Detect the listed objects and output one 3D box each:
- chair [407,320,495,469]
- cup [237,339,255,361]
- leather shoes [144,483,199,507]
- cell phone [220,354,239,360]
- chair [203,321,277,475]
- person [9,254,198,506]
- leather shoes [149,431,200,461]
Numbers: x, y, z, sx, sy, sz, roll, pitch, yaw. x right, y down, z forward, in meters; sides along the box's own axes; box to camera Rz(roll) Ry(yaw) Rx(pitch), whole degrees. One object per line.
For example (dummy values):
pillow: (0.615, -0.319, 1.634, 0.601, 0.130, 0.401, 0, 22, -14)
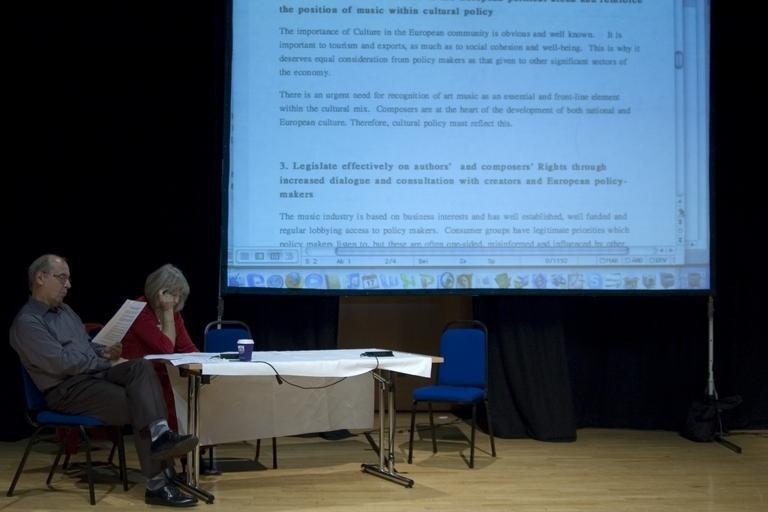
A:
chair: (0.590, 1.149, 7.003, 0.709, 1.206, 0.763, 1, -5, 3)
cup: (-1.044, 0.705, 6.176, 0.134, 0.137, 0.137, -1, -10, 0)
leather shoes: (-1.580, 1.751, 6.067, 0.406, 0.159, 0.155, 2, -4, -4)
cell phone: (-1.186, 0.750, 6.190, 0.150, 0.031, 0.173, -1, 9, -9)
chair: (-1.314, 0.982, 6.825, 0.505, 0.964, 0.549, 6, -13, -24)
person: (-2.103, 0.913, 6.075, 1.360, 1.767, 0.510, 5, 10, 27)
leather shoes: (-1.530, 1.375, 5.961, 0.408, 0.196, 0.158, -21, -33, 17)
